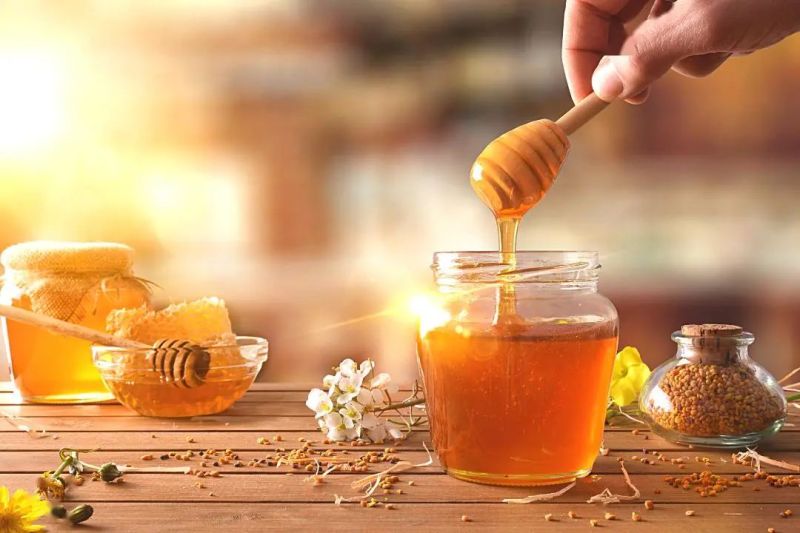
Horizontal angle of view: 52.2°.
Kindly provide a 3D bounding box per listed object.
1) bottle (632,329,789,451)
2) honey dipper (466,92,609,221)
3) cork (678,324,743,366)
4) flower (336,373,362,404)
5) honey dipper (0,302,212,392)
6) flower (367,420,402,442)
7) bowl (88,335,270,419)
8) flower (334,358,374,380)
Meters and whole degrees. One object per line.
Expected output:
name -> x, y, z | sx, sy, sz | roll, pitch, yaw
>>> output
bottle -> 0.542, 0.204, 1.418 | 0.233, 0.205, 0.117 | -2, 1, -12
honey dipper -> 0.258, -0.191, 1.342 | 0.319, 0.087, 0.094 | -34, 2, -24
cork -> 0.550, 0.140, 1.452 | 0.138, 0.072, 0.119 | -2, -2, -12
flower -> -0.087, 0.210, 1.424 | 0.045, 0.040, 0.023 | -16, -33, 23
honey dipper -> -0.536, 0.146, 1.513 | 0.477, 0.077, 0.077 | 11, -34, 19
flower -> -0.030, 0.285, 1.412 | 0.054, 0.016, 0.047 | 2, -11, 17
bowl -> -0.434, 0.230, 1.614 | 0.377, 0.118, 0.337 | -7, -10, 18
flower -> -0.080, 0.181, 1.475 | 0.058, 0.024, 0.061 | 5, 7, 42
